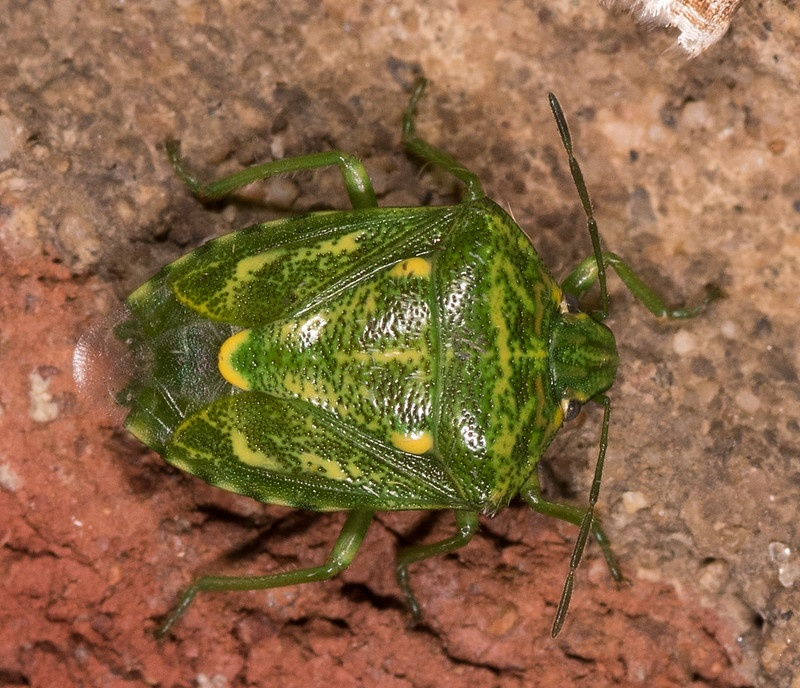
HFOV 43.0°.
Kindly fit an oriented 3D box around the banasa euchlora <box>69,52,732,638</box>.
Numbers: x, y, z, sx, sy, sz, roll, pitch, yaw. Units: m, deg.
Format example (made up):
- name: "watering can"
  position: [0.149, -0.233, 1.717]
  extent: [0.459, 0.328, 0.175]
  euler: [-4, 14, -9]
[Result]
- name: "banasa euchlora"
  position: [-0.132, -0.001, 5.725]
  extent: [3.263, 1.076, 3.436]
  euler: [0, 86, 4]
